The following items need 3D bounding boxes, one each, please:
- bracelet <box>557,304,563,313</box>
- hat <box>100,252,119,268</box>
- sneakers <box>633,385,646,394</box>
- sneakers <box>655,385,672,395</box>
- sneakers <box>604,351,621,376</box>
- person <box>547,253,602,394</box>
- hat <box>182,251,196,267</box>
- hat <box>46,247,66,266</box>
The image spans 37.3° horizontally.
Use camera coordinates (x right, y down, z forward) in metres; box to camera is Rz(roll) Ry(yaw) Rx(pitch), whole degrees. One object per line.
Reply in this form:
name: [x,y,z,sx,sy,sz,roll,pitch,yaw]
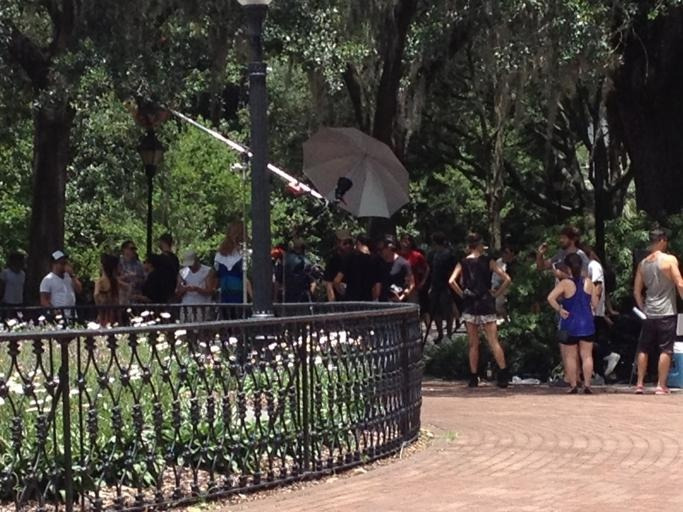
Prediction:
bracelet: [3.203,0.769,14.855,0.076,0.086,0.076,5,6,38]
hat: [-3.579,0.078,15.825,0.256,0.222,0.192,28,-20,-34]
sneakers: [4.403,1.976,14.983,0.080,0.107,0.246,-1,-11,8]
sneakers: [4.715,1.968,14.867,0.103,0.139,0.296,-1,2,34]
sneakers: [4.355,1.722,16.358,0.219,0.392,0.148,27,1,2]
person: [3.455,1.005,14.999,0.647,2.044,0.819,-3,-3,19]
hat: [-2.390,0.010,15.980,0.163,0.147,0.249,1,41,20]
hat: [-5.369,0.017,19.093,0.243,0.131,0.340,-18,-11,-47]
